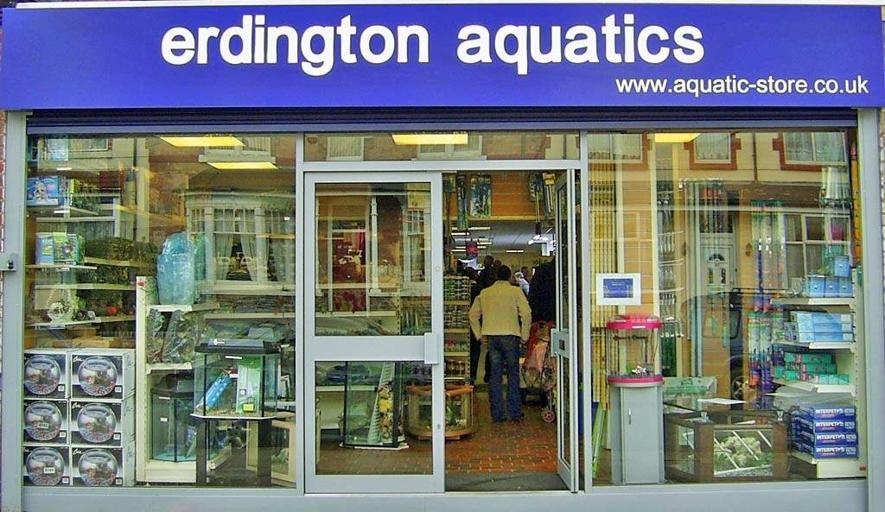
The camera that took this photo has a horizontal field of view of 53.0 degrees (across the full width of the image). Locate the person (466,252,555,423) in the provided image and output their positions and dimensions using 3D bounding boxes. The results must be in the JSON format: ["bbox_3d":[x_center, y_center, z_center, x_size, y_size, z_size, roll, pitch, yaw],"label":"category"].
[{"bbox_3d":[0.811,1.193,12.256,0.854,2.127,0.758,-2,-7,4],"label":"person"}]

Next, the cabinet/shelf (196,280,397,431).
[{"bbox_3d":[-1.764,1.337,10.286,2.603,1.522,1.427,0,-3,3],"label":"cabinet/shelf"}]

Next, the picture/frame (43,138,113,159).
[{"bbox_3d":[-3.958,-1.153,9.676,0.727,0.249,0.075,-1,-7,-2],"label":"picture/frame"}]

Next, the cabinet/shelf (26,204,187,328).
[{"bbox_3d":[-3.498,0.157,9.993,1.865,1.504,0.605,-2,-3,12],"label":"cabinet/shelf"}]

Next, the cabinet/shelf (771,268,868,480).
[{"bbox_3d":[4.313,1.298,10.088,0.847,2.124,1.250,-3,-5,6],"label":"cabinet/shelf"}]

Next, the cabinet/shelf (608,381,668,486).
[{"bbox_3d":[2.096,1.882,9.598,0.579,1.080,0.152,-3,-7,8],"label":"cabinet/shelf"}]

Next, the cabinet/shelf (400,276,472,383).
[{"bbox_3d":[-0.284,1.132,12.525,1.017,1.723,0.894,-4,-7,34],"label":"cabinet/shelf"}]

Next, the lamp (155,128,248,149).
[{"bbox_3d":[-2.592,-1.234,9.636,0.886,0.151,0.099,-2,-6,2],"label":"lamp"}]
